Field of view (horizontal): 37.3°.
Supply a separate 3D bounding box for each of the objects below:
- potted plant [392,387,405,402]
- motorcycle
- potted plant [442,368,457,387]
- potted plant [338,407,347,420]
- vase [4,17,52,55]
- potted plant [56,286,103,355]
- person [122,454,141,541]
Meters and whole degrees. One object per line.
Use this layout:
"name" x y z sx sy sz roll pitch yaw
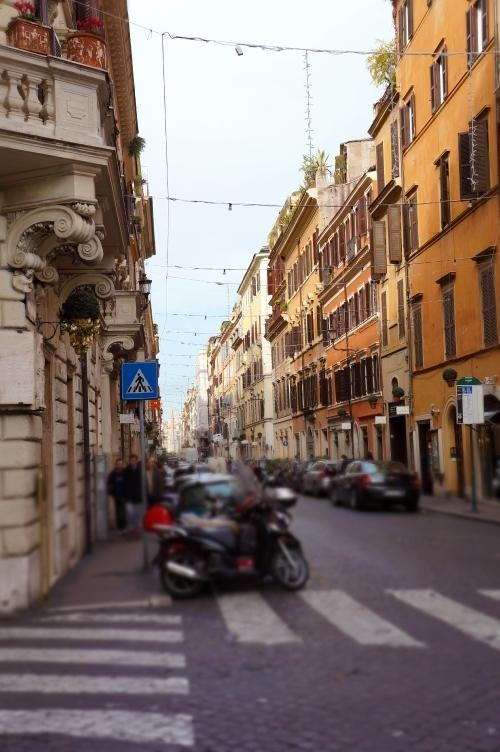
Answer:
"potted plant" 5.899 0.752 29.387 0.473 0.586 0.632 2 8 12
"motorcycle" -0.220 1.749 8.217 1.869 1.458 0.863 0 -1 -14
"potted plant" 6.447 0.035 23.858 0.462 0.538 1.452 -3 -7 15
"potted plant" 5.182 2.095 41.506 0.502 0.477 0.439 -6 -7 38
"vase" -2.384 -3.625 7.949 0.455 0.415 0.252 0 -7 -17
"potted plant" -2.466 -0.870 10.772 0.630 1.094 0.663 0 -5 10
"person" -2.549 2.583 15.926 0.345 1.727 1.035 0 -6 -11
